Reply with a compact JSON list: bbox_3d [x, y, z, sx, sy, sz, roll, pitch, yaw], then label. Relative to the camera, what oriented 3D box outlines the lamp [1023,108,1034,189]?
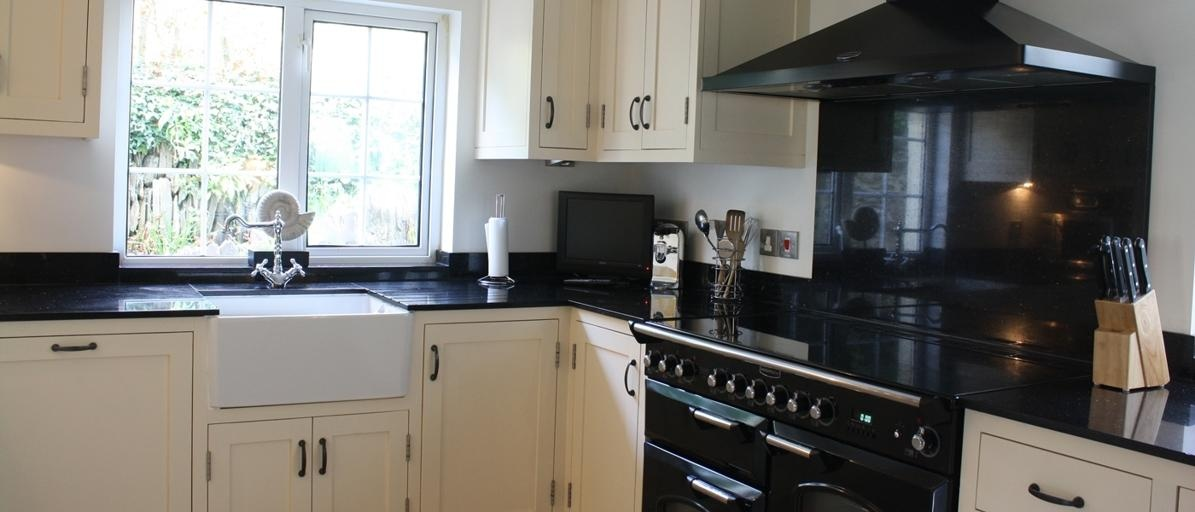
[{"bbox_3d":[2.414,-0.595,4.196,0.045,0.427,0.075,2,10,14],"label":"lamp"}]

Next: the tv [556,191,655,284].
[{"bbox_3d":[-0.113,-0.175,5.656,0.908,0.586,0.481,3,-2,-39],"label":"tv"}]

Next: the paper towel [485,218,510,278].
[{"bbox_3d":[-0.732,-0.065,5.447,0.136,0.422,0.155,-2,10,-8],"label":"paper towel"}]

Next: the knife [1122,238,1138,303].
[{"bbox_3d":[2.764,0.063,3.917,0.047,0.389,0.107,2,35,47],"label":"knife"}]

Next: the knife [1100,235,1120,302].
[{"bbox_3d":[2.621,0.068,3.859,0.117,0.319,0.075,-5,11,-26],"label":"knife"}]

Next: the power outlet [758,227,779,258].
[{"bbox_3d":[1.137,-0.095,5.054,0.132,0.175,0.026,7,12,40],"label":"power outlet"}]
